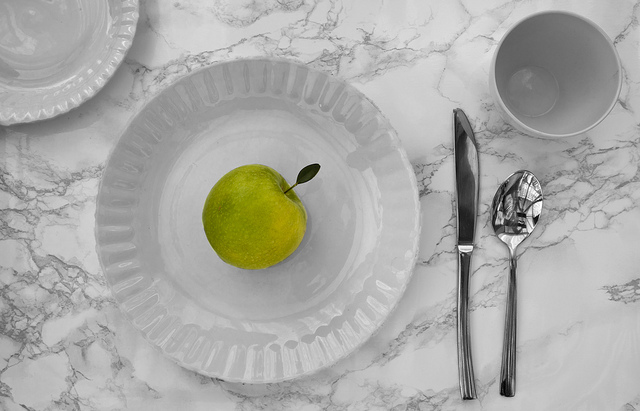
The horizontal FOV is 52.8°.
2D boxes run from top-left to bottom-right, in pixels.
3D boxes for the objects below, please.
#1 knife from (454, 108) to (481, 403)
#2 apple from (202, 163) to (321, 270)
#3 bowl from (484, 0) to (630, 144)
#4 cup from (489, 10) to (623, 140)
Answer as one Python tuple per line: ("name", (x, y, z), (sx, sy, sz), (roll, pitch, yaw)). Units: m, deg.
("knife", (0.320, 0.109, 1.404), (0.045, 0.044, 0.632), (1, -91, 2))
("apple", (-0.137, 0.026, 1.321), (0.197, 0.095, 0.205), (-38, -84, 8))
("bowl", (0.488, -0.271, 1.329), (0.238, 0.207, 0.312), (-2, -78, 8))
("cup", (0.473, -0.268, 1.309), (0.252, 0.116, 0.248), (0, -80, 3))
